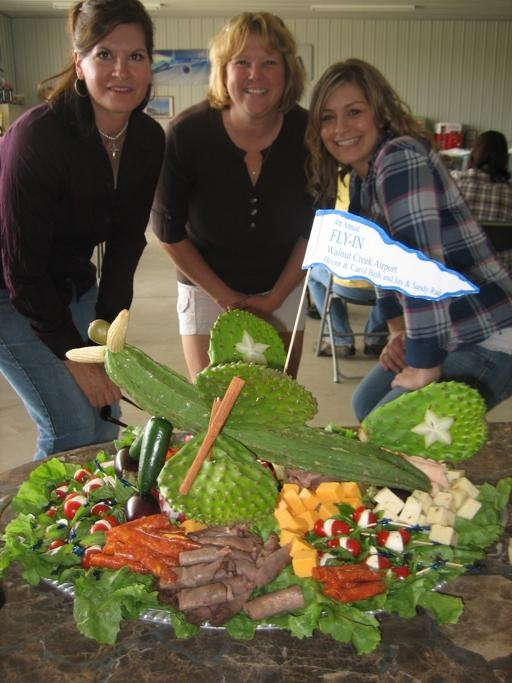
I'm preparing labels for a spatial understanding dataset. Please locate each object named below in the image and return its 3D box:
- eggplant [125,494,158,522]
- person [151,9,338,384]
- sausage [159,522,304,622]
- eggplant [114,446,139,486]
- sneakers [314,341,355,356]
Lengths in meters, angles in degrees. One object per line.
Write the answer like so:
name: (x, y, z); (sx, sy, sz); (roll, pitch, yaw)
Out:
eggplant: (-0.171, 0.246, 0.841); (0.038, 0.033, 0.046); (-16, 18, 9)
person: (-0.067, -0.440, 1.791); (0.571, 1.171, 0.488); (-7, 21, -20)
sausage: (-0.048, 0.293, 0.762); (0.197, 0.073, 0.124); (-10, 18, -33)
eggplant: (-0.217, 0.207, 0.937); (0.033, 0.045, 0.049); (-22, 52, 8)
sneakers: (0.551, 0.049, 3.825); (0.285, 0.105, 0.100); (-1, 5, 22)
